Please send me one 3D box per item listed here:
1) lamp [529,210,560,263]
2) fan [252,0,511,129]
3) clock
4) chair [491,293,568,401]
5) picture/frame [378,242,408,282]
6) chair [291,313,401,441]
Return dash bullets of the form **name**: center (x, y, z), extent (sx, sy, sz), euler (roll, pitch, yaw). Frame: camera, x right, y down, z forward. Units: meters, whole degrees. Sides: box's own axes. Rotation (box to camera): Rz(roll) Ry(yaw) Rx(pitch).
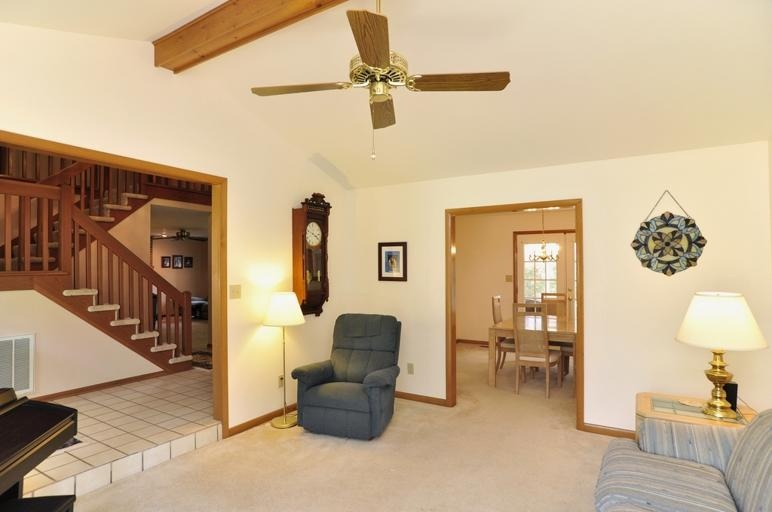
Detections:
- **lamp**: center (2.629, -0.347, 9.076), extent (0.507, 0.837, 0.487), euler (0, 1, -19)
- **fan**: center (0.012, -1.331, 3.901), extent (1.143, 0.554, 1.142), euler (-1, -2, 17)
- **clock**: center (-0.901, 0.008, 6.387), extent (0.348, 1.465, 0.666), euler (6, 13, 19)
- **chair**: center (1.953, 1.186, 7.262), extent (1.074, 1.723, 1.158), euler (1, -1, 25)
- **picture/frame**: center (0.100, 0.069, 6.786), extent (0.497, 0.596, 0.047), euler (-2, -4, 31)
- **chair**: center (-0.384, 1.312, 6.060), extent (1.047, 1.122, 1.180), euler (1, 4, 18)
